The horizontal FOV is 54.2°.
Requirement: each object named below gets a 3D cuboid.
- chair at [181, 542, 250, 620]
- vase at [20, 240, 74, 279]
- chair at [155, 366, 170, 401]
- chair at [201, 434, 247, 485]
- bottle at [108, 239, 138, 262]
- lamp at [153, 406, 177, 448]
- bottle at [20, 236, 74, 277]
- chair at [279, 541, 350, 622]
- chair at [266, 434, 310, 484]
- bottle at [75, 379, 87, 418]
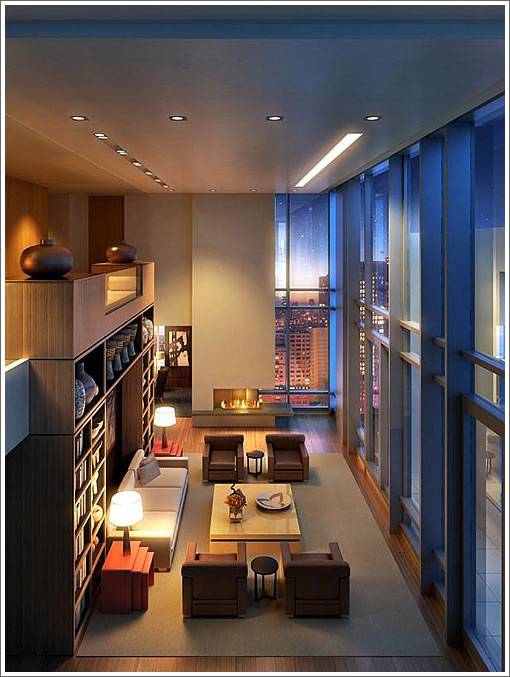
[{"bbox_3d":[-0.427,2.516,5.256,0.413,0.554,0.684,0,4,0],"label":"chair"},{"bbox_3d":[-1.800,-0.605,4.335,0.308,0.332,0.369,0,-1,-12],"label":"vase"},{"bbox_3d":[-2.382,1.197,12.709,0.292,0.896,1.382,0,7,-11],"label":"chair"},{"bbox_3d":[-0.561,2.131,8.766,0.592,0.823,0.765,1,0,-1],"label":"chair"},{"bbox_3d":[-2.111,-1.330,7.911,0.317,0.341,0.380,1,6,11],"label":"bottle"},{"bbox_3d":[-1.539,1.534,8.497,0.305,0.750,0.366,0,6,-9],"label":"lamp"},{"bbox_3d":[-1.807,-0.674,4.413,0.296,0.321,0.357,0,-1,-8],"label":"bottle"},{"bbox_3d":[0.643,2.515,5.056,0.412,0.577,0.704,0,2,1],"label":"chair"},{"bbox_3d":[0.557,2.151,8.826,0.663,0.809,0.880,0,1,-7],"label":"chair"},{"bbox_3d":[-1.570,0.560,4.476,0.061,0.290,0.169,-1,3,-5],"label":"bottle"}]
